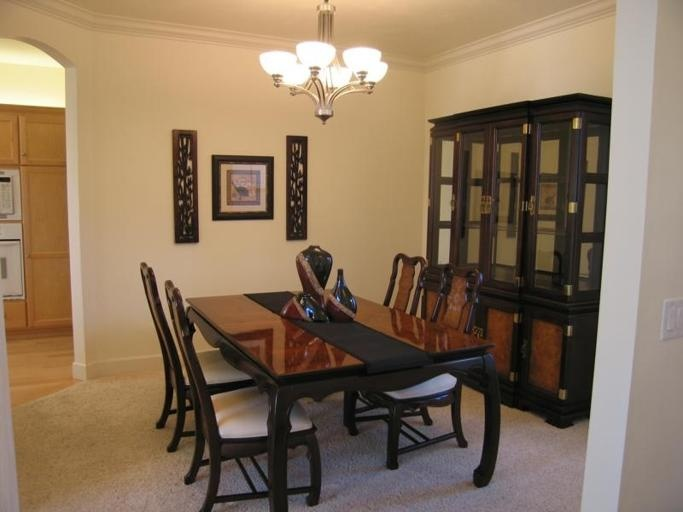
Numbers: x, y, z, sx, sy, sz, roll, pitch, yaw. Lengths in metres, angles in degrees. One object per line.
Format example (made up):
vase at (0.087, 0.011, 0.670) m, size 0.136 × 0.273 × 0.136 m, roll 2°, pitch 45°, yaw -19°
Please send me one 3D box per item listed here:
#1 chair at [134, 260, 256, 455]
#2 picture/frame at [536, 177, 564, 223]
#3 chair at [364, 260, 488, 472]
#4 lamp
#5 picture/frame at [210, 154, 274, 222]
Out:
chair at (-0.942, 0.640, 3.680) m, size 0.814 × 1.307 × 0.768 m, roll -6°, pitch 14°, yaw -35°
picture/frame at (1.589, -0.431, 3.982) m, size 0.050 × 0.314 × 0.230 m, roll -5°, pitch 8°, yaw -32°
chair at (0.536, 0.689, 3.715) m, size 0.736 × 1.314 × 0.731 m, roll 1°, pitch 4°, yaw -28°
lamp at (-0.074, -1.473, 3.875) m, size 0.789 × 1.041 × 1.536 m, roll 0°, pitch 7°, yaw 5°
picture/frame at (-0.946, -0.672, 5.088) m, size 0.596 × 0.693 × 0.059 m, roll -1°, pitch -17°, yaw -9°
